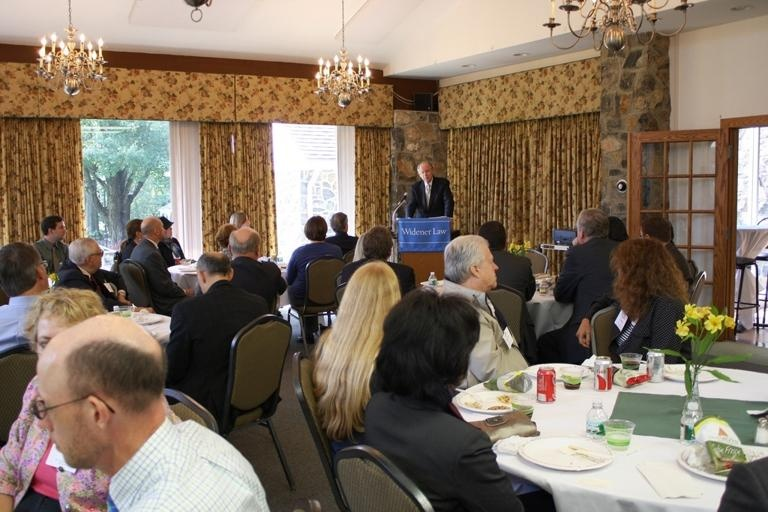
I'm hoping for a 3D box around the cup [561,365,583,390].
[{"bbox_3d":[0.984,0.628,3.003,0.083,0.073,0.091,1,-1,0],"label":"cup"}]

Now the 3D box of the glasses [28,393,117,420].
[{"bbox_3d":[-0.982,0.446,1.753,0.136,0.042,0.132,-12,-8,1],"label":"glasses"}]

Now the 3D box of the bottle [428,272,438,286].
[{"bbox_3d":[0.463,0.224,5.712,0.105,0.188,0.109,1,-4,0],"label":"bottle"}]

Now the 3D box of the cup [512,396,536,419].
[{"bbox_3d":[0.670,0.716,2.738,0.067,0.082,0.079,-1,10,3],"label":"cup"}]

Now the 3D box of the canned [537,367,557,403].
[{"bbox_3d":[0.800,0.629,2.846,0.090,0.162,0.091,-3,2,-7],"label":"canned"}]

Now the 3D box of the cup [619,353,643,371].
[{"bbox_3d":[1.325,0.562,3.115,0.085,0.069,0.090,0,-4,0],"label":"cup"}]

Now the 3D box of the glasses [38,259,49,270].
[{"bbox_3d":[-2.456,0.056,4.157,0.026,0.084,0.082,-35,-4,0],"label":"glasses"}]

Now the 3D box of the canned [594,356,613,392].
[{"bbox_3d":[1.112,0.592,2.928,0.087,0.157,0.087,-3,5,-10],"label":"canned"}]

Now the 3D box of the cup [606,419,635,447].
[{"bbox_3d":[0.995,0.734,2.440,0.102,0.081,0.101,0,5,0],"label":"cup"}]

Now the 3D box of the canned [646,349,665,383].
[{"bbox_3d":[1.417,0.568,3.015,0.096,0.156,0.098,-1,4,-12],"label":"canned"}]

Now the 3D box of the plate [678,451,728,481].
[{"bbox_3d":[1.241,0.811,2.266,0.113,0.058,0.179,-7,13,-24],"label":"plate"}]
